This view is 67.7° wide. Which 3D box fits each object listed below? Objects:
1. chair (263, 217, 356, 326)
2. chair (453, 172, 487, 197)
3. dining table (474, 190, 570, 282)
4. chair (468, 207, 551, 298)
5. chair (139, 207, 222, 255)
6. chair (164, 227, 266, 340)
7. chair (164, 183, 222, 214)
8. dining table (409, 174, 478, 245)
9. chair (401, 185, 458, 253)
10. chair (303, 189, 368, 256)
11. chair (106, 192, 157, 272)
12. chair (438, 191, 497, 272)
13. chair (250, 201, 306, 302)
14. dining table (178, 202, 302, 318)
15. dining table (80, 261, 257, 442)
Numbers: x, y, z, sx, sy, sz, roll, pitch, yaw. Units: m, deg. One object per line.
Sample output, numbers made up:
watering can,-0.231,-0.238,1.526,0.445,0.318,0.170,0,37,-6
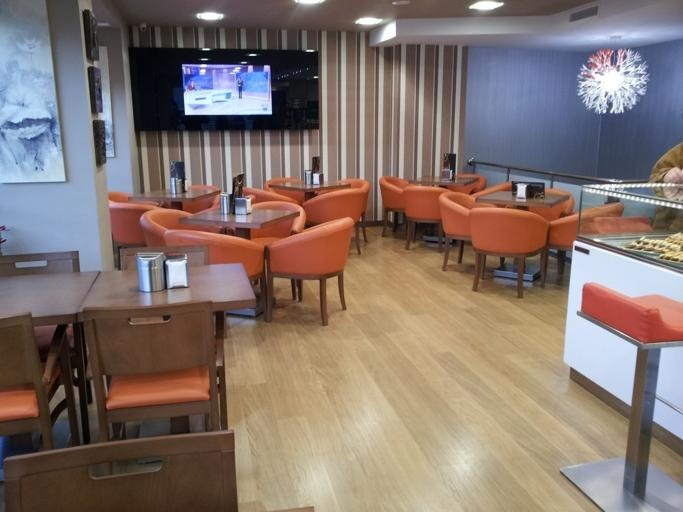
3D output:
chair,-0.306,0.072,4.889,0.775,0.973,0.860,4,14,5
chair,2.046,-1.118,8.041,0.435,0.478,0.441,5,8,40
dining table,2.134,-0.263,6.270,1.207,1.225,1.146,4,15,22
chair,1.735,-0.152,5.696,0.913,1.089,0.926,7,16,32
chair,-1.584,-0.182,4.897,0.538,0.578,0.526,-7,31,-4
chair,-1.043,0.109,4.575,0.812,0.812,0.796,-11,5,-35
chair,-1.945,-0.723,6.516,0.485,0.467,0.484,0,20,4
dining table,1.608,-0.775,7.870,0.994,0.612,0.999,4,14,19
chair,1.194,-0.642,7.285,0.692,0.887,0.714,6,19,27
chair,-0.003,-0.540,6.961,0.862,0.984,0.923,6,17,16
chair,-2.655,-0.150,6.068,0.575,0.647,0.577,4,26,0
chair,1.495,-0.379,6.527,0.822,1.223,1.073,0,16,11
chair,-0.595,-0.199,5.319,0.526,0.511,0.507,13,22,-9
dining table,-0.951,0.071,5.222,1.060,0.923,1.063,6,19,17
dining table,-0.965,0.539,2.978,0.933,0.702,0.883,-3,13,-8
